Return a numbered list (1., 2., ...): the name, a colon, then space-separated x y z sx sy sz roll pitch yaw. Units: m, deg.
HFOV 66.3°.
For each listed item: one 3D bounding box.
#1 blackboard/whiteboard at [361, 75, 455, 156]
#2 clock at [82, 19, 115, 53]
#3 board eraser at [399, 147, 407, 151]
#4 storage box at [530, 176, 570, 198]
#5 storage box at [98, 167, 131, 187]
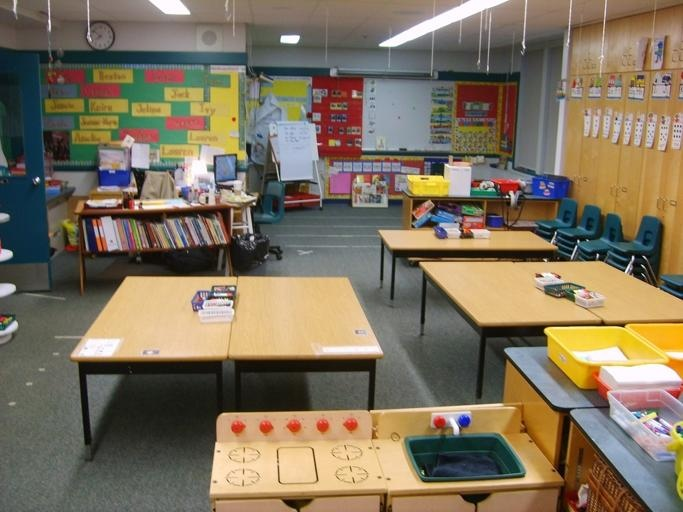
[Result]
1. blackboard/whiteboard: 1.506 -3.440 12.516 2.521 1.815 0.113 0 12 -5
2. clock: -3.926 -3.605 8.566 0.489 0.460 0.188 -3 18 -6
3. board eraser: 1.483 -2.591 12.697 0.183 0.092 0.120 0 -16 1
4. storage box: 3.380 -1.140 8.564 0.326 0.310 0.509 -2 9 -11
5. storage box: -3.695 -1.308 8.590 0.532 0.299 0.455 -7 19 -18
